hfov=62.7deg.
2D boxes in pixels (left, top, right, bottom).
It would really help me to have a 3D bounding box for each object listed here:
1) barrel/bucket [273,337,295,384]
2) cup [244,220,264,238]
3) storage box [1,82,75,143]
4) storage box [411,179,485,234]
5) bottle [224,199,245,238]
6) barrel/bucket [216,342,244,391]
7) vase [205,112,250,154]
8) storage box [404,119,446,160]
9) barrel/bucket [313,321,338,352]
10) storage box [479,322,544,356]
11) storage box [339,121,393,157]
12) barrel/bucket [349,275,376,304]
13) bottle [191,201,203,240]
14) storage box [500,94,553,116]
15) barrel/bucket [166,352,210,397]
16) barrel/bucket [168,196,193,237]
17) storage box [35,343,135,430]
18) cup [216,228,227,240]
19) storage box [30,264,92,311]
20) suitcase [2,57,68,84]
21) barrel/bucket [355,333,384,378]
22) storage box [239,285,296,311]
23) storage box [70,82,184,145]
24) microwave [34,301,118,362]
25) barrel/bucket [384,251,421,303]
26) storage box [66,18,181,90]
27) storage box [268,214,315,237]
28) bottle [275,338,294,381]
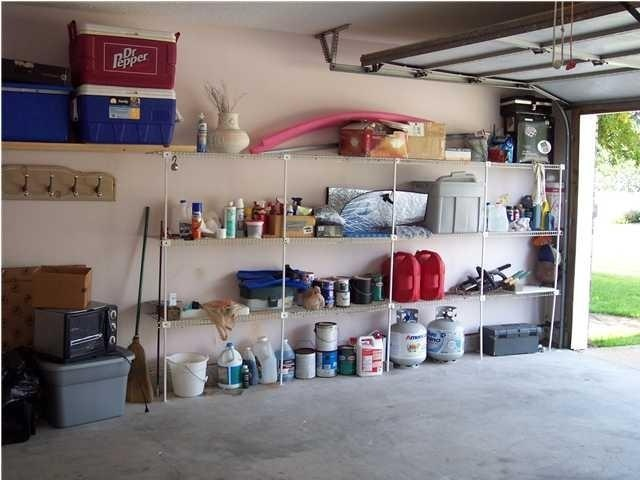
[{"bbox_3d":[-0.377,1.278,5.451,0.262,0.398,0.245,-2,-14,-1],"label":"barrel/bucket"},{"bbox_3d":[-0.636,-0.090,5.102,0.180,0.138,0.168,1,-1,0],"label":"cup"},{"bbox_3d":[-2.405,-0.964,4.513,0.612,0.480,0.576,0,2,-27],"label":"storage box"},{"bbox_3d":[1.452,-0.439,6.158,0.763,0.622,0.711,-1,9,-17],"label":"storage box"},{"bbox_3d":[-0.841,-0.204,5.155,0.191,0.359,0.409,0,7,-10],"label":"bottle"},{"bbox_3d":[-0.880,1.240,5.161,0.240,0.424,0.158,0,8,-11],"label":"barrel/bucket"},{"bbox_3d":[-0.863,-0.966,4.953,0.426,0.362,0.403,-4,7,-25],"label":"vase"},{"bbox_3d":[1.107,-1.061,5.851,0.485,0.397,0.367,0,3,-25],"label":"storage box"},{"bbox_3d":[0.059,1.014,5.483,0.305,0.262,0.270,0,0,-1],"label":"barrel/bucket"},{"bbox_3d":[2.306,1.209,6.280,0.607,0.277,0.361,-1,-1,-14],"label":"storage box"},{"bbox_3d":[0.464,-1.027,5.451,0.398,0.337,0.525,-4,11,-15],"label":"storage box"},{"bbox_3d":[0.434,0.550,5.586,0.233,0.282,0.292,1,-2,-32],"label":"barrel/bucket"},{"bbox_3d":[-1.165,-0.178,4.969,0.105,0.328,0.324,-1,8,-14],"label":"bottle"},{"bbox_3d":[2.550,-1.628,6.448,0.628,0.246,0.262,-1,8,-19],"label":"storage box"},{"bbox_3d":[-1.281,1.309,5.051,0.405,0.297,0.382,2,-2,0],"label":"barrel/bucket"},{"bbox_3d":[-1.402,-0.190,5.163,0.262,0.380,0.233,3,10,-20],"label":"barrel/bucket"},{"bbox_3d":[-2.048,1.252,4.519,0.597,0.471,0.733,0,-1,42],"label":"storage box"},{"bbox_3d":[-0.935,-0.041,4.954,0.101,0.096,0.095,1,6,0],"label":"cup"},{"bbox_3d":[-2.196,0.410,4.512,0.535,0.247,0.521,5,4,5],"label":"storage box"},{"bbox_3d":[-2.360,-1.357,4.349,0.466,0.193,0.177,-2,8,-25],"label":"suitcase"},{"bbox_3d":[0.528,1.231,5.526,0.281,0.399,0.133,0,8,-9],"label":"barrel/bucket"},{"bbox_3d":[-0.537,0.584,5.244,0.409,0.177,0.284,-1,2,-31],"label":"storage box"},{"bbox_3d":[-1.543,-1.052,4.662,0.890,0.507,0.508,5,6,10],"label":"storage box"},{"bbox_3d":[-2.061,0.765,4.471,0.419,0.380,0.602,5,2,29],"label":"microwave"},{"bbox_3d":[0.913,0.438,5.715,0.361,0.564,0.573,-1,1,-32],"label":"barrel/bucket"},{"bbox_3d":[-1.708,-1.581,4.535,0.871,0.496,0.511,-7,23,-35],"label":"storage box"},{"bbox_3d":[-0.280,-0.129,5.257,0.454,0.206,0.227,0,1,-21],"label":"storage box"},{"bbox_3d":[-0.344,1.236,5.331,0.189,0.415,0.232,0,8,-9],"label":"bottle"}]
